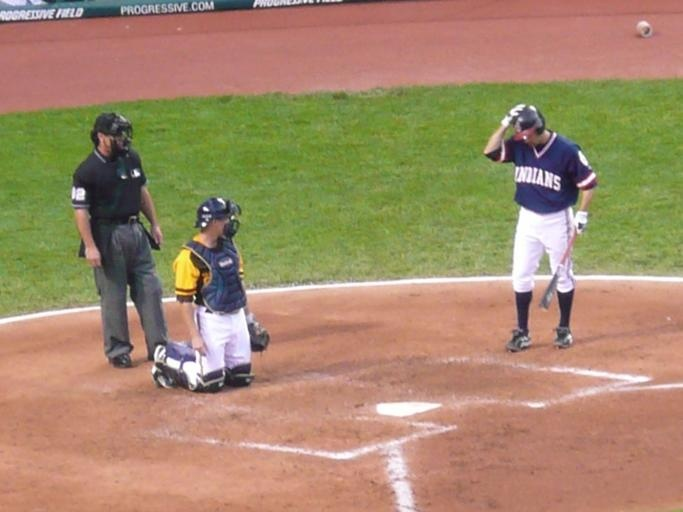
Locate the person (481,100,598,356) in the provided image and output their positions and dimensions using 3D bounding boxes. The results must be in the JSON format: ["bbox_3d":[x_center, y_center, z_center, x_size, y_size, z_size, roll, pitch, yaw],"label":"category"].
[{"bbox_3d":[2.821,-0.422,17.671,1.390,3.307,0.812,1,18,12],"label":"person"}]

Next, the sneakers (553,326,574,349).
[{"bbox_3d":[3.033,1.111,17.767,0.415,0.281,0.140,-16,16,-38],"label":"sneakers"}]

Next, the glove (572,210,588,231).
[{"bbox_3d":[3.319,-0.501,17.624,0.230,0.328,0.149,7,4,19],"label":"glove"}]

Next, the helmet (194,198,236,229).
[{"bbox_3d":[-1.705,-0.583,16.740,0.464,0.278,0.337,-12,30,24],"label":"helmet"}]

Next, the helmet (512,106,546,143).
[{"bbox_3d":[2.576,-1.856,17.394,0.373,0.515,0.450,26,57,34],"label":"helmet"}]

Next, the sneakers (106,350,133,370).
[{"bbox_3d":[-3.071,1.422,17.730,0.182,0.146,0.343,-6,14,-30],"label":"sneakers"}]
